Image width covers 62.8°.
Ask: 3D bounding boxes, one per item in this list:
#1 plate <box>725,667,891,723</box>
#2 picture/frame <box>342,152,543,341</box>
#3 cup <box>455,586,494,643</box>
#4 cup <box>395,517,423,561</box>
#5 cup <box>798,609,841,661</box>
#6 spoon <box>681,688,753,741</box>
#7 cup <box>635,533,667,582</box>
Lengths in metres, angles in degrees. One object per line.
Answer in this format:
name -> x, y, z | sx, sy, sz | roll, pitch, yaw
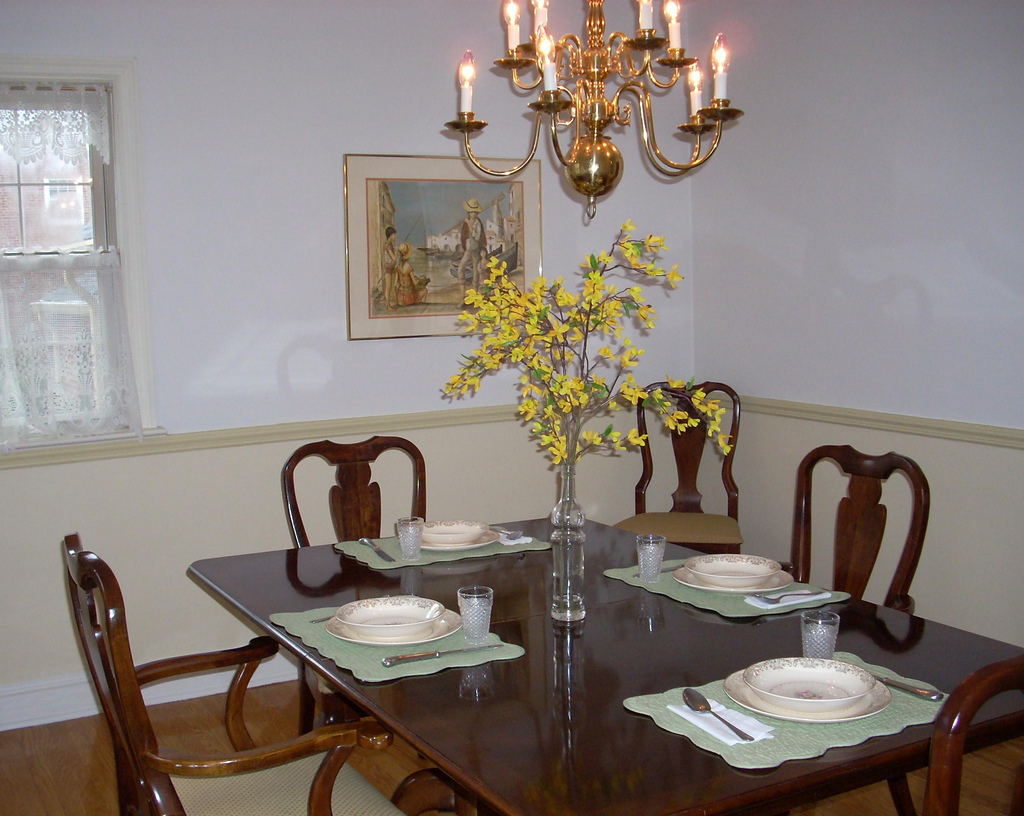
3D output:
plate -> 0.539, 0.514, 1.540 | 0.291, 0.044, 0.190 | 0, 9, 11
picture/frame -> -0.365, -0.708, 3.619 | 1.017, 0.905, 0.019 | -3, 5, -28
cup -> -0.077, 0.429, 1.793 | 0.097, 0.125, 0.104 | 0, 1, 0
cup -> -0.287, 0.376, 2.423 | 0.098, 0.123, 0.100 | 0, -3, 0
cup -> 0.611, 0.457, 1.731 | 0.087, 0.111, 0.094 | 0, 2, 0
spoon -> 0.351, 0.526, 1.489 | 0.033, 0.026, 0.166 | -3, 10, -17
cup -> 0.360, 0.384, 2.187 | 0.091, 0.155, 0.101 | 0, 1, 3
